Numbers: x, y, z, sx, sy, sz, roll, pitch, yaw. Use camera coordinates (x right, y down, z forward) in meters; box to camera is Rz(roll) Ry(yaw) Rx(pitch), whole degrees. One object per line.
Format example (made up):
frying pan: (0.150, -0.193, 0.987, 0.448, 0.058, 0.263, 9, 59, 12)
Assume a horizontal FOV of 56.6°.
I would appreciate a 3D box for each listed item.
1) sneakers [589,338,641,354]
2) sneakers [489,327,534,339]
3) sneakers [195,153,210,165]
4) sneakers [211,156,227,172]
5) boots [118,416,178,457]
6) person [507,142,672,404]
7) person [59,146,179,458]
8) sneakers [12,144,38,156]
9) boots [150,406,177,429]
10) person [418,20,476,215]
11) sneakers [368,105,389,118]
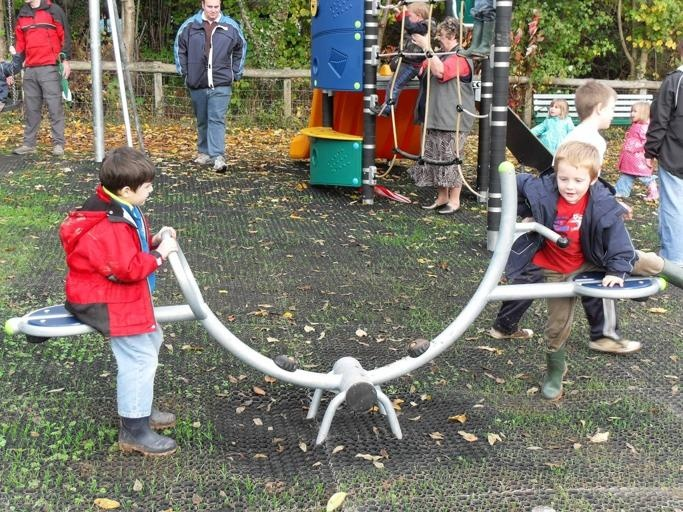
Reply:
sneakers: (1.723, 0.563, 3.998, 0.278, 0.125, 0.112, -2, 10, 14)
sneakers: (1.130, 0.520, 4.215, 0.265, 0.099, 0.100, -4, 12, -5)
sneakers: (-1.948, -1.361, 8.873, 0.127, 0.133, 0.319, -1, -2, 13)
sneakers: (-1.614, -1.231, 8.430, 0.117, 0.128, 0.296, -7, 9, -18)
boots: (-0.890, 0.842, 3.081, 0.325, 0.229, 0.134, 1, 20, -5)
person: (1.308, 0.059, 3.539, 0.825, 1.417, 0.962, 6, 19, 20)
person: (-1.006, 0.230, 2.950, 0.503, 1.419, 0.405, -8, 19, -25)
sneakers: (-4.304, -1.467, 8.677, 0.128, 0.144, 0.348, 16, 14, 21)
boots: (-0.898, 0.819, 3.257, 0.170, 0.121, 0.056, -5, 27, -7)
person: (1.095, -1.492, 6.801, 0.633, 2.046, 0.789, 3, 18, 9)
sneakers: (0.438, -1.642, 7.124, 0.230, 0.110, 0.145, 8, 28, 44)
